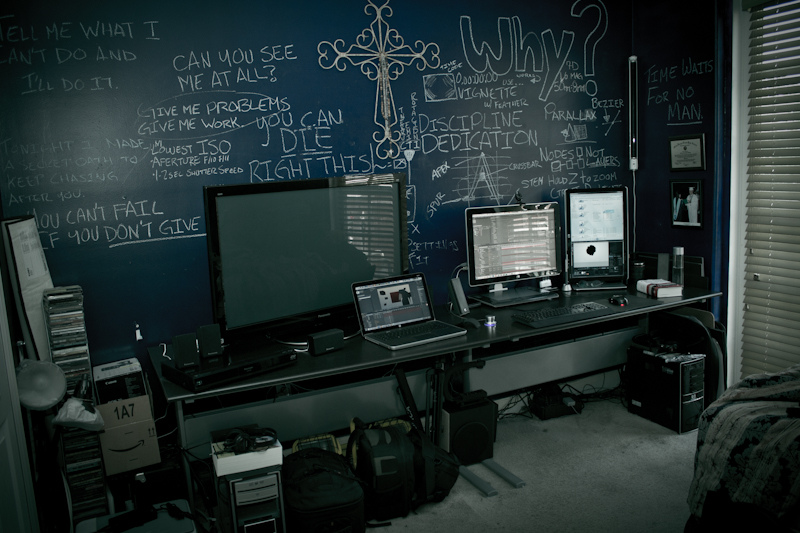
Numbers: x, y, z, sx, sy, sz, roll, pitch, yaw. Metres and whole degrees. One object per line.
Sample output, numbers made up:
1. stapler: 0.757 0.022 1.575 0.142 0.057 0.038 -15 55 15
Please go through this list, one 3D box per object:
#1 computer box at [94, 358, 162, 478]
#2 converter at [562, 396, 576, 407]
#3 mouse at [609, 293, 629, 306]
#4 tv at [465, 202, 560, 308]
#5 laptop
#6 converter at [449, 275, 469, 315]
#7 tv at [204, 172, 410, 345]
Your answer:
1. computer box: -1.669 0.920 3.991 0.322 0.624 0.296 -11 10 -23
2. converter: 1.321 1.060 5.114 0.073 0.073 0.020 5 -13 -1
3. mouse: 1.585 0.243 4.734 0.100 0.067 0.099 -5 10 -26
4. tv: 0.831 -0.097 4.884 0.717 0.626 0.301 -6 7 -22
5. laptop: 0.056 0.276 4.301 0.593 0.360 0.519 -8 13 -32
6. converter: 0.422 0.222 4.639 0.098 0.235 0.023 -13 -7 -46
7. tv: -0.647 -0.027 4.234 1.078 0.798 0.379 -7 4 -29
